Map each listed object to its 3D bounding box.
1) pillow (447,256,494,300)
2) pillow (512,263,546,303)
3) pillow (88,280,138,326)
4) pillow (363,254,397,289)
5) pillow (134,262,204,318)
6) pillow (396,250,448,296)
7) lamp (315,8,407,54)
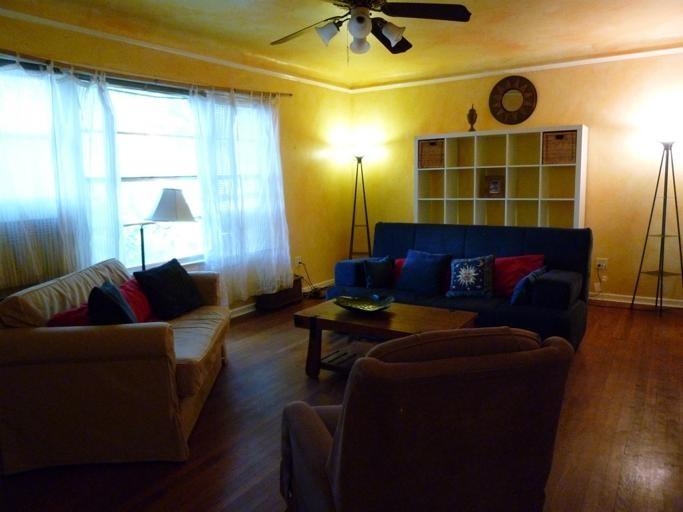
[{"bbox_3d":[1.200,0.214,4.557,0.307,0.318,0.115,-9,-29,31],"label":"pillow"},{"bbox_3d":[1.562,0.250,4.227,0.079,0.282,0.269,20,13,27],"label":"pillow"},{"bbox_3d":[-1.445,0.310,3.162,0.248,0.290,0.084,-14,-2,-5],"label":"pillow"},{"bbox_3d":[0.388,0.172,5.034,0.276,0.302,0.115,2,-11,-6],"label":"pillow"},{"bbox_3d":[-1.373,0.266,3.974,0.132,0.425,0.450,-33,-5,30],"label":"pillow"},{"bbox_3d":[0.804,0.158,4.816,0.394,0.424,0.182,12,-11,36],"label":"pillow"},{"bbox_3d":[0.234,-1.576,3.732,0.503,0.213,0.517,4,0,44],"label":"lamp"}]
